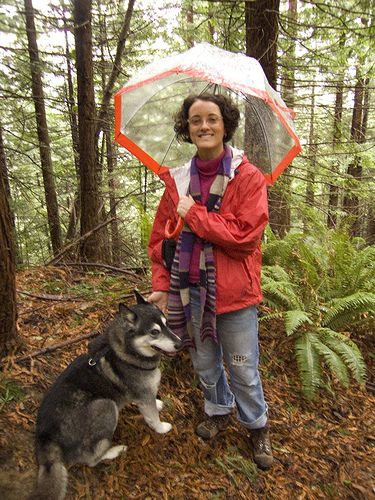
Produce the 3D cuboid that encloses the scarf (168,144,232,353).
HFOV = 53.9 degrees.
[{"bbox_3d":[0.101,0.063,3.078,0.480,1.747,0.423,7,16,31],"label":"scarf"}]

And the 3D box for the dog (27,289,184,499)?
[{"bbox_3d":[-0.695,1.089,2.957,1.267,1.368,0.674,-12,17,-39],"label":"dog"}]

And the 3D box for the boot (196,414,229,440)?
[{"bbox_3d":[0.214,1.672,3.504,0.132,0.142,0.356,2,-3,41],"label":"boot"}]

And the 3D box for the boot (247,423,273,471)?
[{"bbox_3d":[0.636,1.793,3.377,0.156,0.184,0.448,-4,9,-1],"label":"boot"}]

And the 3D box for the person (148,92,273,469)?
[{"bbox_3d":[0.196,0.350,3.159,1.040,3.226,0.562,10,18,41],"label":"person"}]
